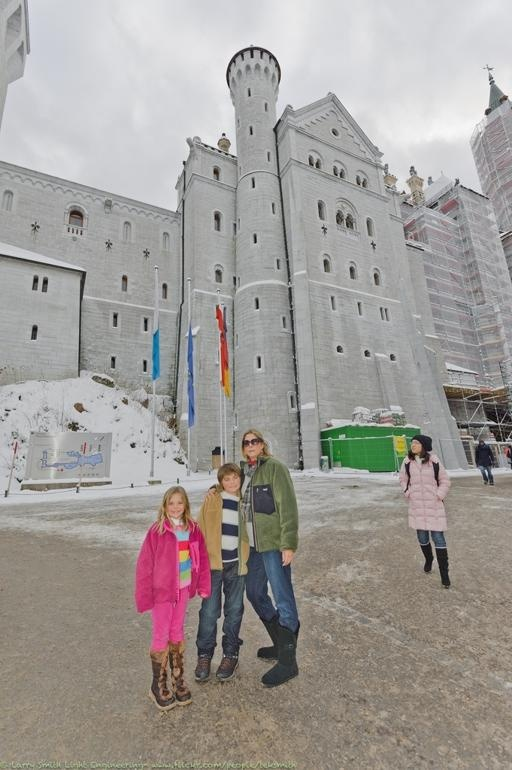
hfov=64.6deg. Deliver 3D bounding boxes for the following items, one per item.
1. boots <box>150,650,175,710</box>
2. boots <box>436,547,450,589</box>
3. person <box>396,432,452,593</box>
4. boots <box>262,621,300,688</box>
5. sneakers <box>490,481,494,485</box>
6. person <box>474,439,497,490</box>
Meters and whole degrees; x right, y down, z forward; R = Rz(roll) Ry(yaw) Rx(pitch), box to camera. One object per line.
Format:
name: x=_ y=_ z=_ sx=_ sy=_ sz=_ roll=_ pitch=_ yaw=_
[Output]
boots: x=-0.549 y=1.737 z=2.430 sx=0.139 sy=0.280 sz=0.295 roll=0 pitch=-8 yaw=-12
boots: x=2.002 y=1.952 z=4.349 sx=0.114 sy=0.387 sz=0.268 roll=-4 pitch=-8 yaw=23
person: x=2.063 y=1.437 z=4.960 sx=0.545 sy=1.622 sz=1.269 roll=-4 pitch=-8 yaw=23
boots: x=0.157 y=1.764 z=2.667 sx=0.237 sy=0.326 sz=0.245 roll=-1 pitch=-8 yaw=1
sneakers: x=7.947 y=3.336 z=13.700 sx=0.120 sy=0.162 sz=0.164 roll=-1 pitch=-2 yaw=34
person: x=7.885 y=2.694 z=14.023 sx=0.430 sy=1.490 sz=1.759 roll=-5 pitch=-9 yaw=27
